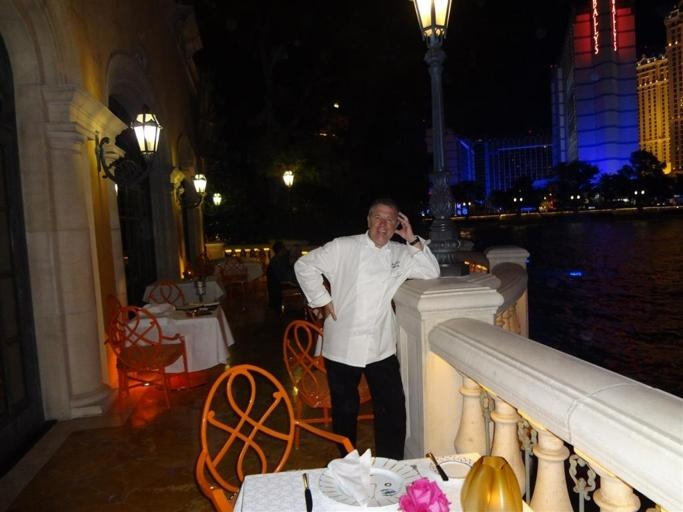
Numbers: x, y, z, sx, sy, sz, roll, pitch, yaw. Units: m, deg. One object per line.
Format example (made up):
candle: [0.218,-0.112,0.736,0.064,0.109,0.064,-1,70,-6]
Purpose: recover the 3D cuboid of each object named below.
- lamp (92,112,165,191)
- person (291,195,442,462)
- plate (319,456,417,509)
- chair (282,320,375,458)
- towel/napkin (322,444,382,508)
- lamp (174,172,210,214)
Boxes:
lamp: [-3.117,-1.611,6.720,0.767,1.096,0.662,-1,6,-12]
person: [0.206,0.591,3.910,1.084,2.099,0.485,2,6,15]
plate: [0.172,1.139,2.277,0.223,0.029,0.241,2,9,24]
chair: [-0.115,1.391,5.237,0.932,1.588,0.915,-24,-15,32]
towel/napkin: [0.057,1.085,2.239,0.226,0.094,0.223,-33,43,-32]
lamp: [-4.695,-1.973,14.107,1.145,1.226,1.191,4,12,32]
